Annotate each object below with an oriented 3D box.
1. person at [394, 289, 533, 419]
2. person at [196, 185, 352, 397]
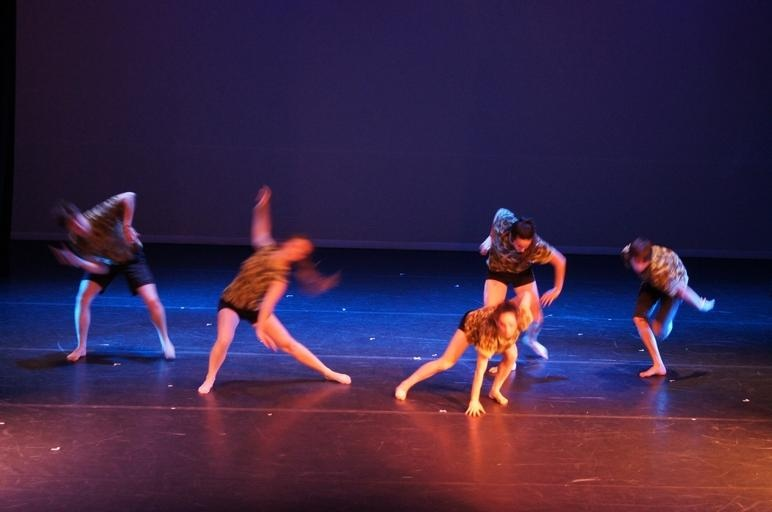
[{"bbox_3d":[0.572,0.700,4.681,0.779,0.665,0.959,-7,7,-22],"label":"person"},{"bbox_3d":[-0.887,0.299,4.875,1.100,1.409,0.781,2,12,5],"label":"person"}]
